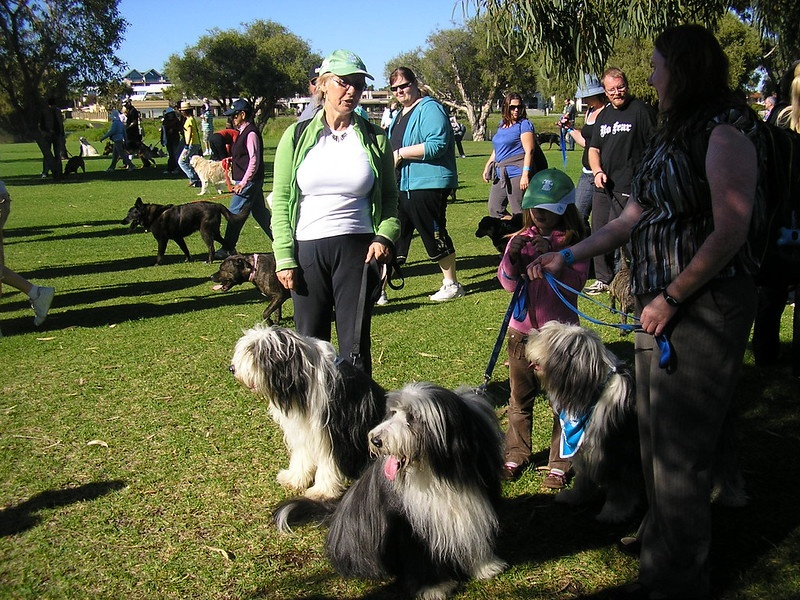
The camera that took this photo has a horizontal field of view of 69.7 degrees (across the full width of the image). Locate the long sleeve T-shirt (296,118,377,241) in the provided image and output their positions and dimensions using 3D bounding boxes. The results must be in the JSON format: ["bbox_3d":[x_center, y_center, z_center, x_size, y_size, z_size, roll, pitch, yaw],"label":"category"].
[{"bbox_3d":[-0.430,-0.783,3.772,0.520,0.839,0.411,0,-1,-7],"label":"long sleeve T-shirt"}]

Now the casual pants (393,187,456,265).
[{"bbox_3d":[0.189,-0.992,7.288,0.412,1.043,0.972,-14,15,-43],"label":"casual pants"}]

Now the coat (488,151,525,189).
[{"bbox_3d":[1.494,-1.805,7.976,0.340,0.315,0.353,1,1,-25],"label":"coat"}]

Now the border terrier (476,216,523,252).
[{"bbox_3d":[0.935,-0.686,5.540,0.209,0.397,0.753,-8,17,-11],"label":"border terrier"}]

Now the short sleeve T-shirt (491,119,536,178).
[{"bbox_3d":[1.503,-2.150,8.057,0.370,0.747,0.699,-4,10,-40],"label":"short sleeve T-shirt"}]

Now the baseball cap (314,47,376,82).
[{"bbox_3d":[-0.349,-1.419,3.459,0.321,0.156,0.121,5,16,23],"label":"baseball cap"}]

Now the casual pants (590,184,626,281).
[{"bbox_3d":[2.018,-0.676,5.562,0.236,1.213,0.621,5,1,9],"label":"casual pants"}]

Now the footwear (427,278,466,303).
[{"bbox_3d":[0.594,-0.132,7.425,0.437,0.301,0.233,-5,9,-6],"label":"footwear"}]

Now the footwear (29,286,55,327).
[{"bbox_3d":[-4.252,0.069,6.704,0.172,0.522,0.206,35,17,34],"label":"footwear"}]

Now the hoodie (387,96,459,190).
[{"bbox_3d":[0.269,-1.984,7.174,0.674,1.129,1.199,-9,17,-24],"label":"hoodie"}]

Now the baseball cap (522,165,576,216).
[{"bbox_3d":[0.953,-0.723,3.579,0.231,0.203,0.334,13,34,27],"label":"baseball cap"}]

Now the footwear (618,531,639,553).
[{"bbox_3d":[1.267,1.336,3.172,0.079,0.071,0.099,0,13,4],"label":"footwear"}]

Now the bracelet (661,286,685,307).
[{"bbox_3d":[1.172,-0.011,2.475,0.076,0.029,0.076,41,1,14],"label":"bracelet"}]
